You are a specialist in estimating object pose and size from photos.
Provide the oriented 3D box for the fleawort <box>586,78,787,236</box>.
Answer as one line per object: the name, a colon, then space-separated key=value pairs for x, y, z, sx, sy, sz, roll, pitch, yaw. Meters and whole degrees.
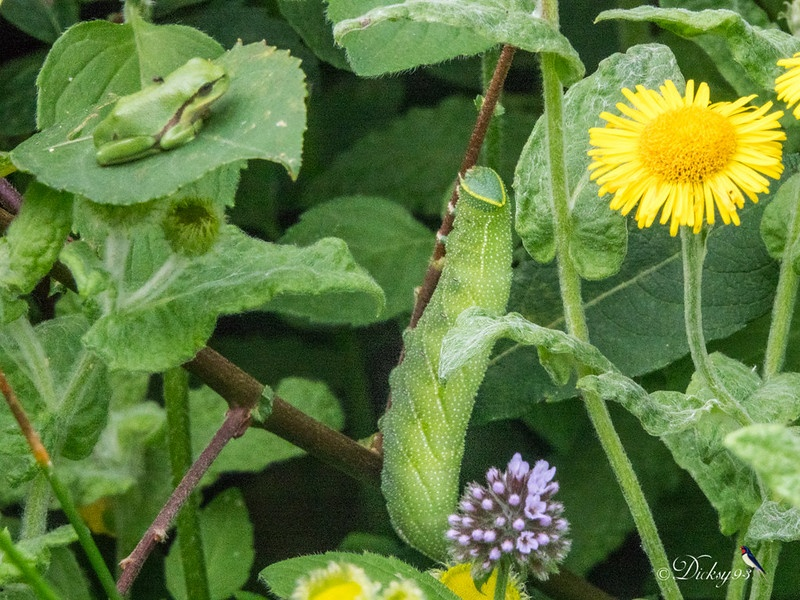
fleawort: x=0.215 y=-0.113 z=0.728 sx=0.130 sy=0.043 sz=0.128 roll=-43 pitch=63 yaw=-8

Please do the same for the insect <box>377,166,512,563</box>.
insect: x=0.035 y=0.053 z=0.822 sx=0.093 sy=0.348 sz=0.058 roll=10 pitch=5 yaw=-9
